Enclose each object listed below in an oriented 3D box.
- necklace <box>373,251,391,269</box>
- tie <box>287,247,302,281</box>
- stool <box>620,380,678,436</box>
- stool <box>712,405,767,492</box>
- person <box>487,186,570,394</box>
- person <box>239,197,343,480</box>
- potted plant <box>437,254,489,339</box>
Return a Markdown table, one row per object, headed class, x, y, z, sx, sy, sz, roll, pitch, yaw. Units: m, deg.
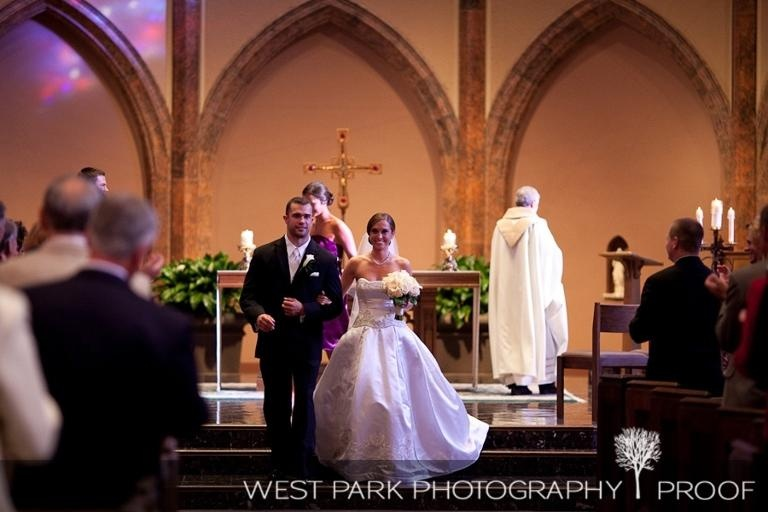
| class | x | y | z | sx | sy | sz | roll | pitch | yaw |
| --- | --- | --- | --- | --- | --- | --- | --- | --- | --- |
| necklace | -0.020 | 0.032 | 6.846 | 0.090 | 0.049 | 0.125 | 0 | -33 | -6 |
| tie | -0.684 | 0.061 | 6.274 | 0.082 | 0.252 | 0.035 | 4 | -9 | 7 |
| stool | 1.715 | 0.957 | 5.201 | 0.289 | 0.303 | 0.296 | -1 | -2 | 15 |
| stool | 1.869 | 1.006 | 4.174 | 0.224 | 0.386 | 0.754 | 0 | -2 | 16 |
| person | 1.497 | 0.359 | 8.654 | 0.846 | 2.222 | 0.613 | 0 | -2 | 16 |
| person | -0.693 | 0.621 | 6.213 | 0.789 | 2.143 | 0.436 | 1 | -2 | -12 |
| potted plant | 0.934 | 0.648 | 10.804 | 0.723 | 0.868 | 0.964 | 1 | 5 | 11 |
